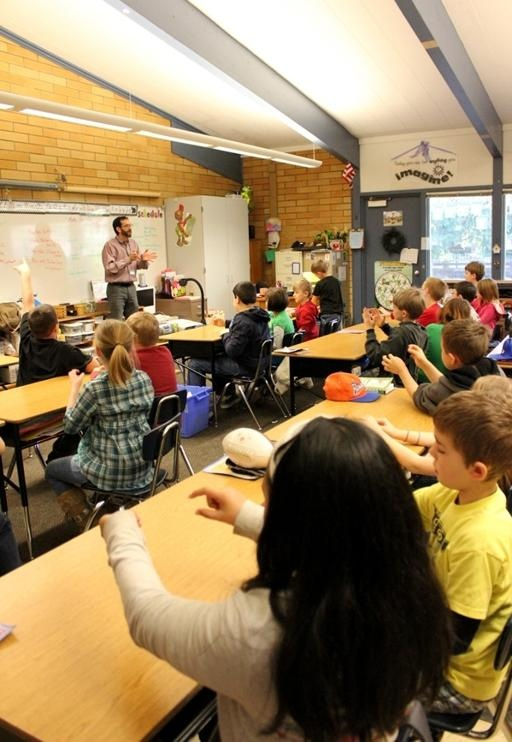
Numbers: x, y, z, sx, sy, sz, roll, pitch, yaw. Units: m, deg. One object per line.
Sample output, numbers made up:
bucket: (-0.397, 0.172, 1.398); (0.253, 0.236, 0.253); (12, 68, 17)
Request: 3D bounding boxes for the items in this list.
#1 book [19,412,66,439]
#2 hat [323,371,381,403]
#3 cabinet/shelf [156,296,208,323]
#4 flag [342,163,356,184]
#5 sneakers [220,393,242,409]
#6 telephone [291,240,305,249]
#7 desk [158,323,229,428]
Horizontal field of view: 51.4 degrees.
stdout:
book: (-1.283, 0.329, 3.205); (0.181, 0.055, 0.179); (0, 8, 18)
hat: (0.543, 0.094, 3.028); (0.269, 0.113, 0.165); (0, 10, -3)
cabinet/shelf: (-1.228, -0.981, 8.374); (0.673, 0.383, 0.711); (4, 2, 15)
flag: (1.524, -3.224, 8.746); (0.103, 0.290, 0.293); (2, -27, 29)
sneakers: (-0.287, 0.331, 5.630); (0.098, 0.127, 0.294); (7, 17, 30)
telephone: (0.748, -2.278, 9.637); (0.243, 0.219, 0.764); (0, 10, 4)
desk: (-0.521, -0.020, 5.658); (0.758, 0.911, 1.001); (3, 12, 18)
